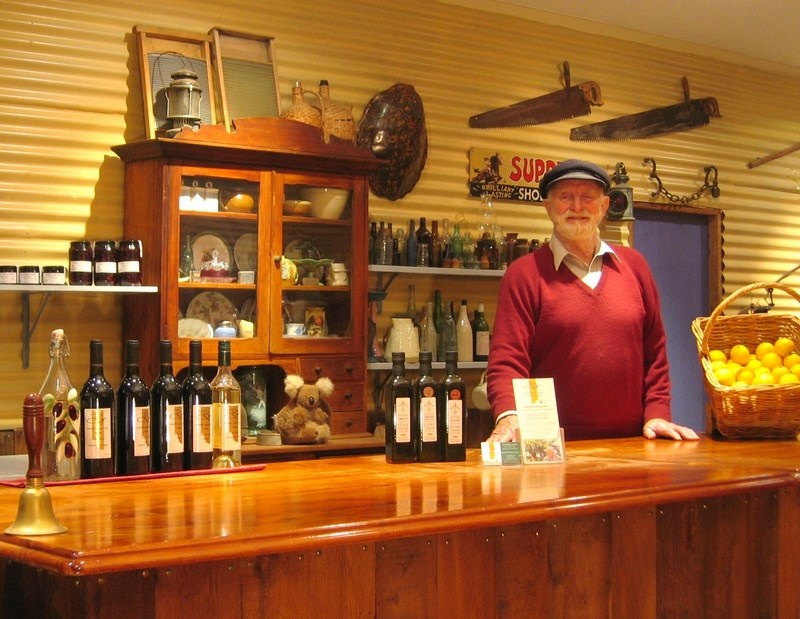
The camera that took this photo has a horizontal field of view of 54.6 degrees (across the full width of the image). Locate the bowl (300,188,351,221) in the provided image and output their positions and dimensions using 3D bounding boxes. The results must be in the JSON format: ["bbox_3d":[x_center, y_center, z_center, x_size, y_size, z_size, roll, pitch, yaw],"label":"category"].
[{"bbox_3d":[-0.395,-0.589,4.248,0.182,0.130,0.186,0,-6,0],"label":"bowl"}]

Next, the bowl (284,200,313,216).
[{"bbox_3d":[-0.552,-0.545,4.149,0.089,0.054,0.092,1,10,0],"label":"bowl"}]

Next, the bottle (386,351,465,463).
[{"bbox_3d":[0.078,0.292,2.321,0.226,0.328,0.128,-1,-3,2],"label":"bottle"}]

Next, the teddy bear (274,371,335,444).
[{"bbox_3d":[-0.494,0.498,3.916,0.303,0.380,0.120,5,-11,-28],"label":"teddy bear"}]

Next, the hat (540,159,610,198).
[{"bbox_3d":[0.668,-0.516,3.000,0.265,0.132,0.216,-2,-3,19],"label":"hat"}]

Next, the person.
[{"bbox_3d":[0.673,-0.035,2.917,0.867,1.059,0.414,0,-3,-21],"label":"person"}]

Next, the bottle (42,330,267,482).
[{"bbox_3d":[-0.768,0.252,2.169,0.452,0.401,0.179,0,-3,-14],"label":"bottle"}]

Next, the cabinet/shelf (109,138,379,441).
[{"bbox_3d":[-0.798,-0.121,3.772,1.523,1.905,0.526,2,-4,-35],"label":"cabinet/shelf"}]

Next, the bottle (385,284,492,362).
[{"bbox_3d":[0.212,0.089,4.813,0.452,0.383,0.130,3,-11,-18],"label":"bottle"}]

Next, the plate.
[{"bbox_3d":[-0.916,-0.133,3.932,0.425,0.547,0.061,1,-3,-31],"label":"plate"}]

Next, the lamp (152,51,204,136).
[{"bbox_3d":[-1.137,-1.108,4.027,0.252,0.475,0.251,0,2,14],"label":"lamp"}]

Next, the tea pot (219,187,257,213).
[{"bbox_3d":[-0.841,-0.568,3.969,0.125,0.114,0.101,-3,6,-3],"label":"tea pot"}]
